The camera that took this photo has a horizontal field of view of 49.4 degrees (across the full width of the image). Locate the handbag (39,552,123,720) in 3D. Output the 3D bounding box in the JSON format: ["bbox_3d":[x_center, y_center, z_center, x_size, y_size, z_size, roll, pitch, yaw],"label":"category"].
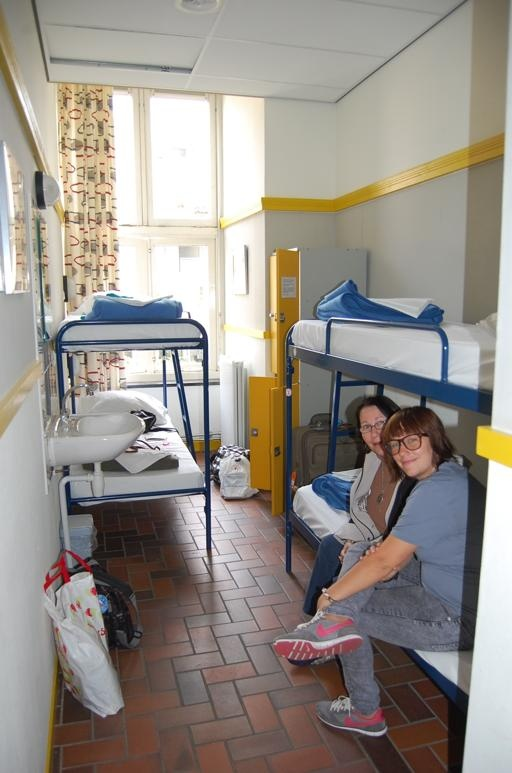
[{"bbox_3d":[-0.721,1.038,2.360,0.290,0.635,0.393,-2,6,-16],"label":"handbag"}]

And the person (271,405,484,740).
[{"bbox_3d":[0.499,0.724,2.128,0.661,1.301,0.438,2,6,17],"label":"person"}]

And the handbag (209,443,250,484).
[{"bbox_3d":[-0.268,0.786,5.546,0.364,0.312,0.534,-1,6,-5],"label":"handbag"}]

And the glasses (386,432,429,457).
[{"bbox_3d":[0.539,0.217,2.055,0.163,0.099,0.064,5,8,41],"label":"glasses"}]

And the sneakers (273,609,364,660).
[{"bbox_3d":[0.222,0.963,2.139,0.389,0.146,0.198,-4,31,3],"label":"sneakers"}]

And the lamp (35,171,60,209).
[{"bbox_3d":[-1.061,-1.002,2.804,0.066,0.180,0.174,-4,1,0],"label":"lamp"}]
